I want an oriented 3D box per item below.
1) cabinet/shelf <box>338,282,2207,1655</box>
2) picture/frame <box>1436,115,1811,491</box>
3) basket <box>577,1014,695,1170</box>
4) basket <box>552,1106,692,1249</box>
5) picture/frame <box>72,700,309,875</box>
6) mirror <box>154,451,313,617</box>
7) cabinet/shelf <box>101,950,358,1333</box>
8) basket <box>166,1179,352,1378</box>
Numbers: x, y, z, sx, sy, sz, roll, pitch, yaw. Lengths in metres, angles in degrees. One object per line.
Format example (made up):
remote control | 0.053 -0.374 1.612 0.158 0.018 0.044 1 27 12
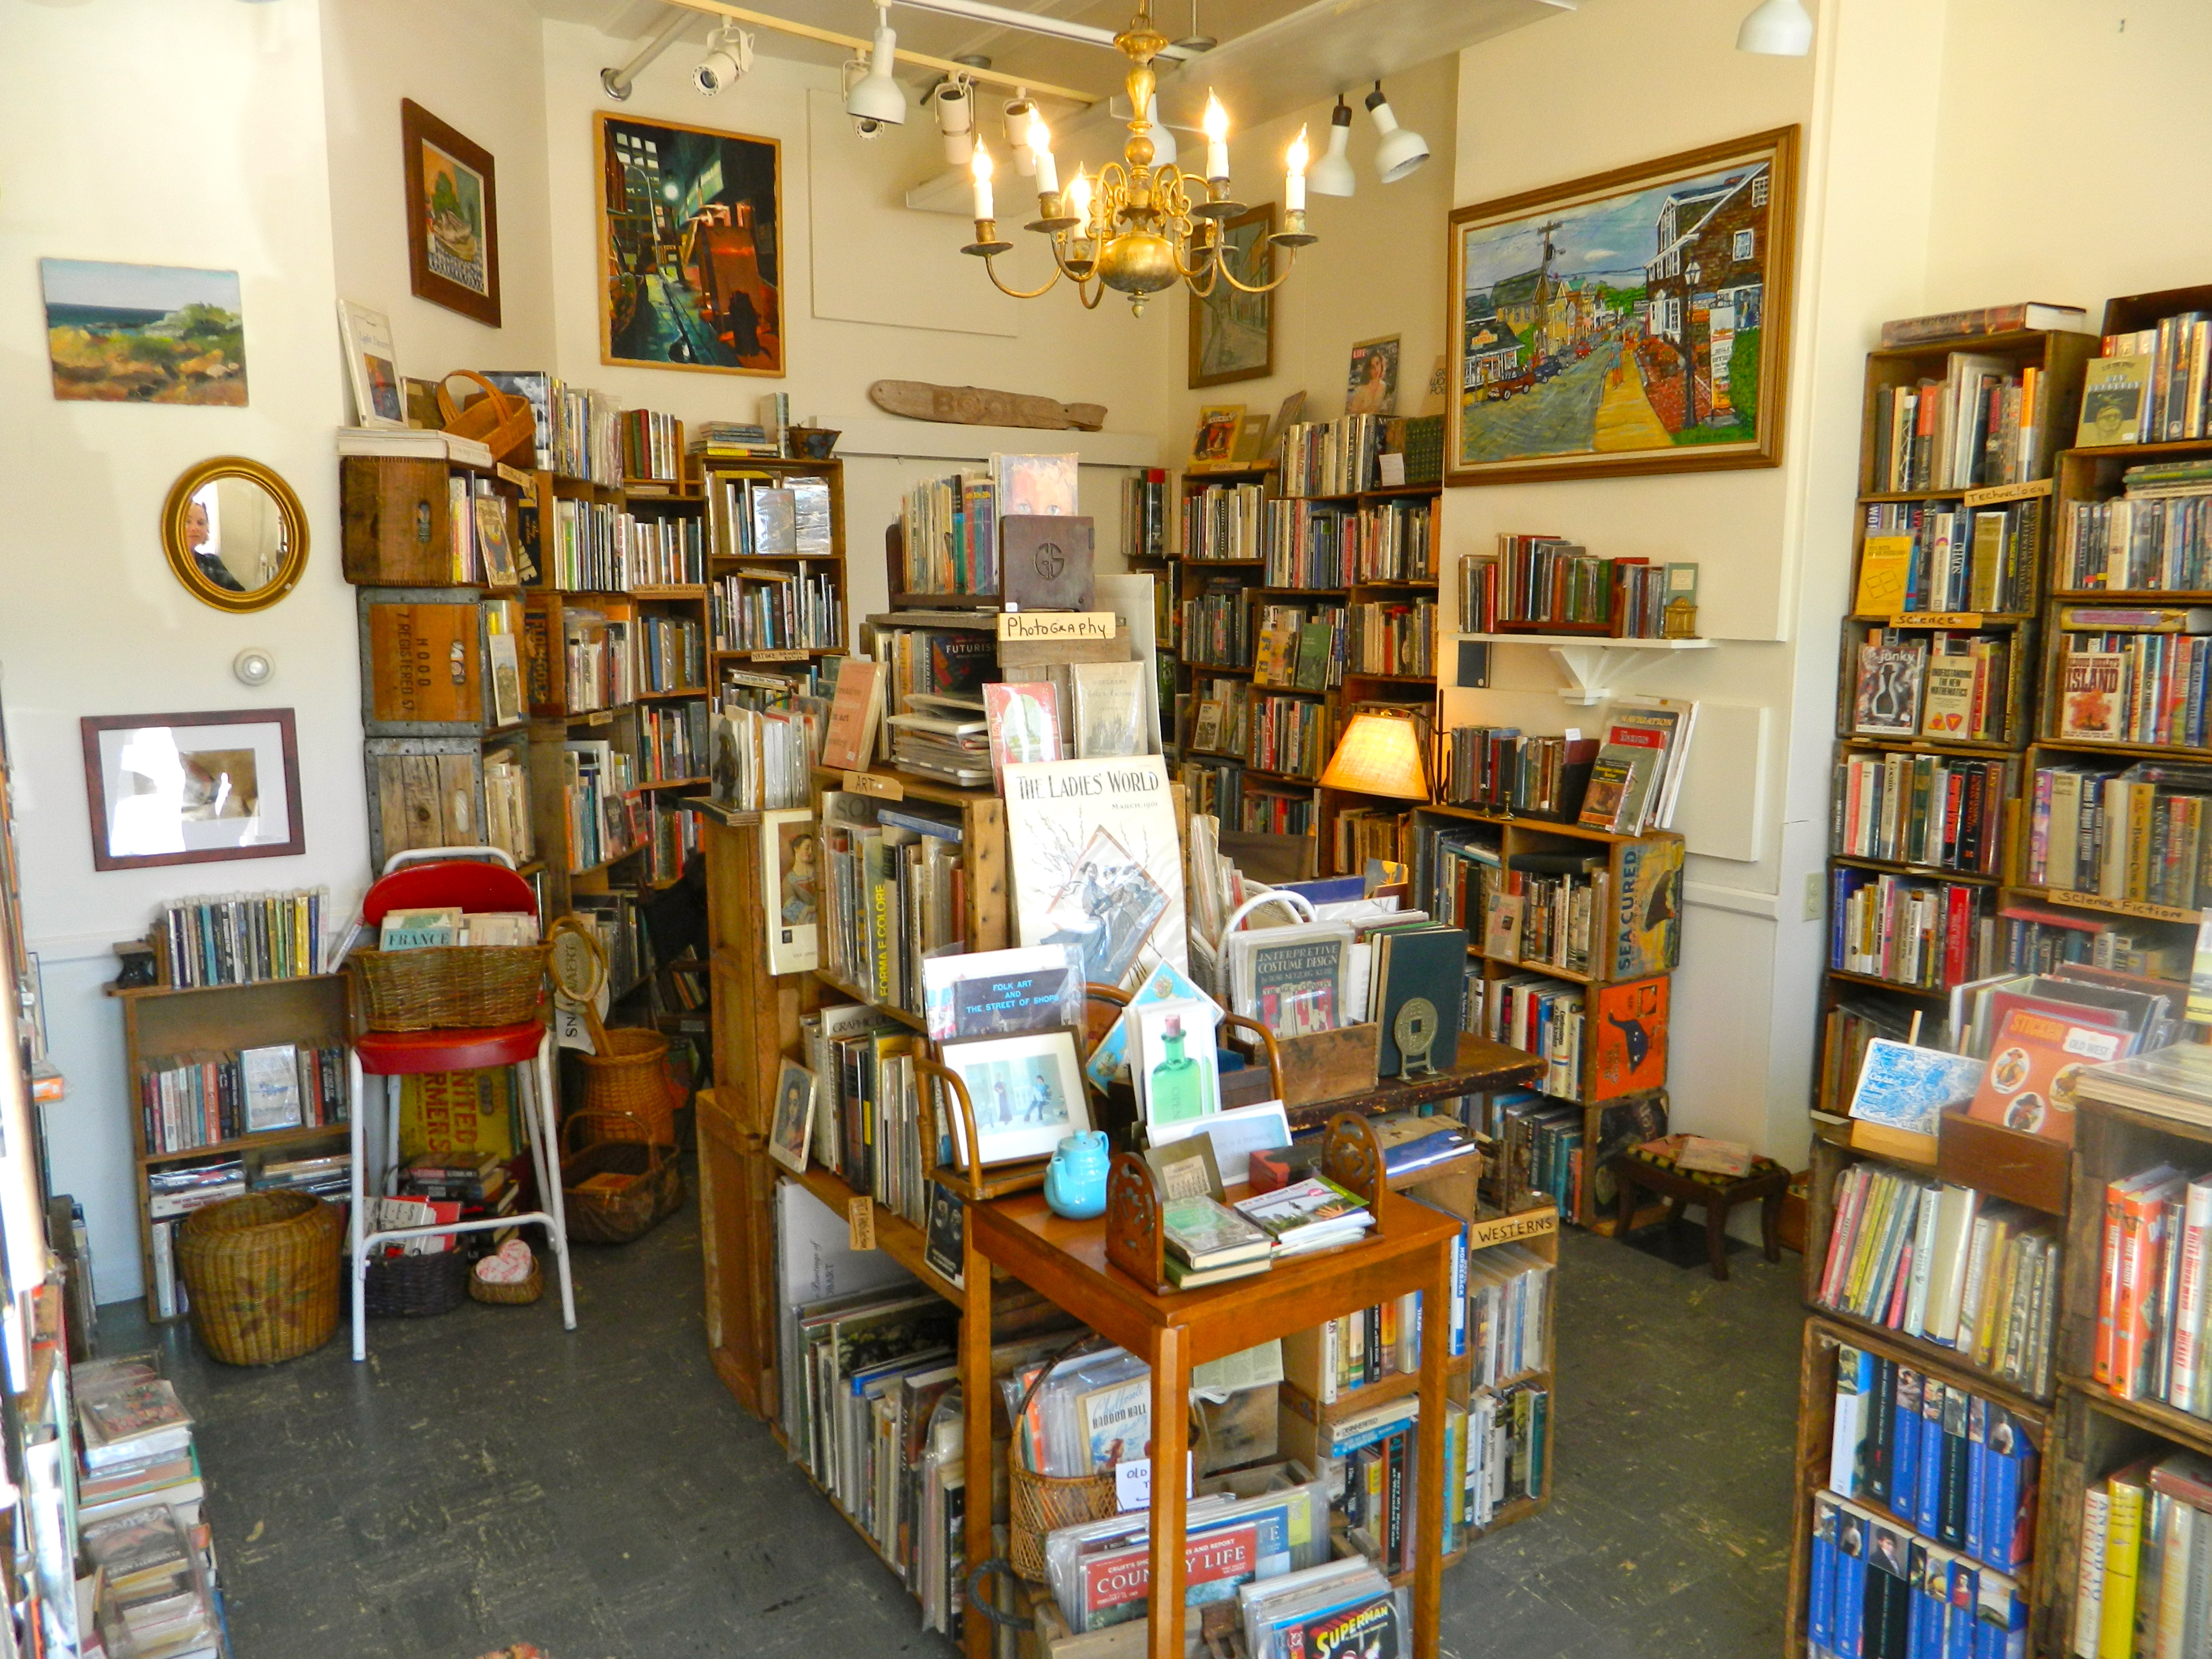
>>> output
cabinet/shelf | 0.490 0.379 4.684 3.848 1.970 2.689 0 0 -27
picture/frame | 1.805 -1.814 5.738 0.032 1.075 1.390 -4 6 -32
basket | -1.700 0.935 6.068 0.397 0.459 0.425 1 5 -3
basket | -1.674 1.023 5.757 0.318 0.470 0.654 1 3 1
picture/frame | -2.805 -0.139 5.106 0.463 0.453 0.033 -3 6 -28
mirror | -2.618 -0.890 5.089 0.394 0.523 0.046 -4 -15 -32
cabinet/shelf | -2.665 1.025 5.358 0.650 1.181 0.258 -4 9 -27
basket | -2.493 1.354 5.000 0.386 0.391 0.414 -7 1 -4
